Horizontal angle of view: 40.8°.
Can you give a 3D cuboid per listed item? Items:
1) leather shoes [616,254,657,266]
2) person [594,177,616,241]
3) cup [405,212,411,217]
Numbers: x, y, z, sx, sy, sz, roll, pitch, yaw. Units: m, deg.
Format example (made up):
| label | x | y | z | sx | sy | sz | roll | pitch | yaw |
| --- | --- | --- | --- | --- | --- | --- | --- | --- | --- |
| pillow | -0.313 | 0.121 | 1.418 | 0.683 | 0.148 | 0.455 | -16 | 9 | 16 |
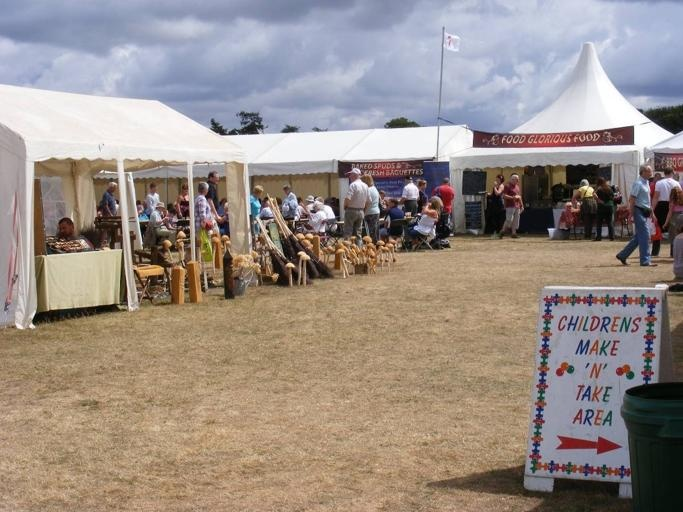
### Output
| label | x | y | z | sx | sy | sz | roll | pitch | yaw |
| --- | --- | --- | --- | --- | --- | --- | --- | --- | --- |
| leather shoes | 4.834 | 0.083 | 15.132 | 0.408 | 0.213 | 0.135 | -4 | 0 | 31 |
| person | 5.914 | -1.067 | 20.694 | 0.415 | 1.431 | 1.046 | 3 | 10 | 17 |
| cup | 1.448 | -0.901 | 19.936 | 0.091 | 0.083 | 0.084 | 0 | 4 | 0 |
